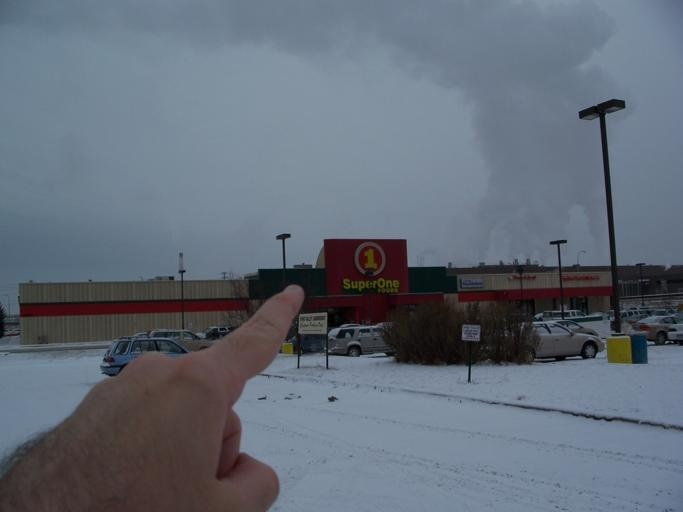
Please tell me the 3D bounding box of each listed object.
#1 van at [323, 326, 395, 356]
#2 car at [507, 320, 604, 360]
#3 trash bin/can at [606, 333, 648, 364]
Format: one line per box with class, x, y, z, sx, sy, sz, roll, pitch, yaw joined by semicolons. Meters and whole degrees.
van;0.716;3.607;26.343;2.372;1.176;1.331;-5;-4;-8
car;6.315;2.533;18.257;2.544;1.116;1.167;-1;-2;-22
trash bin/can;6.772;2.238;15.061;0.612;1.037;0.945;1;-4;-11
